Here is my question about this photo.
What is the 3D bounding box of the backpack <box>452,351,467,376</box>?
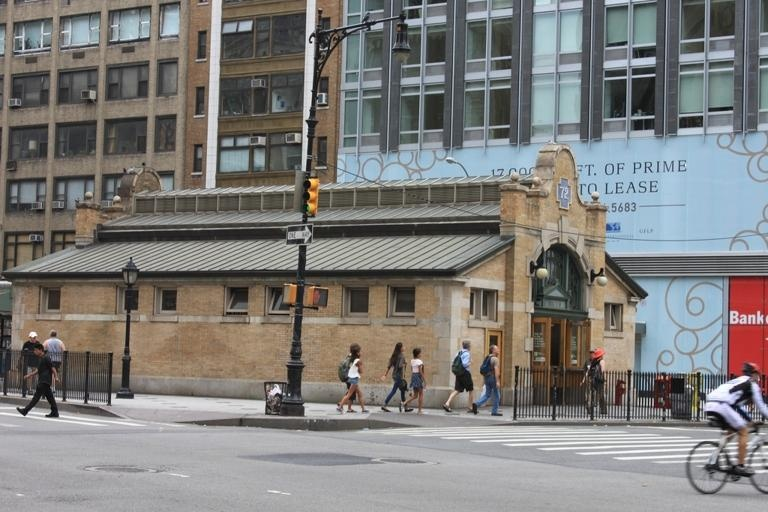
[{"bbox_3d":[3.130,4.690,68.421,0.451,1.005,0.612,3,-6,-36],"label":"backpack"}]

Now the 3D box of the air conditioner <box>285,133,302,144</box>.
[{"bbox_3d":[-5.270,-6.726,95.895,1.033,0.549,0.658,-6,-12,41],"label":"air conditioner"}]

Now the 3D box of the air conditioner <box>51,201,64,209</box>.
[{"bbox_3d":[-20.312,-2.901,102.060,0.554,0.328,0.528,-1,-4,6],"label":"air conditioner"}]

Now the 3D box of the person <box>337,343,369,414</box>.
[{"bbox_3d":[-1.156,5.302,68.540,1.600,2.946,1.174,4,-1,22],"label":"person"}]

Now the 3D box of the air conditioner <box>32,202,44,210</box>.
[{"bbox_3d":[-21.644,-2.852,102.467,0.858,0.489,0.470,1,2,32],"label":"air conditioner"}]

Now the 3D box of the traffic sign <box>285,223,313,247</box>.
[{"bbox_3d":[-3.407,-0.663,66.975,1.289,0.802,0.061,-1,-9,35],"label":"traffic sign"}]

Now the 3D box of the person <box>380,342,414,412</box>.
[{"bbox_3d":[0.631,5.318,69.216,1.563,2.840,0.937,1,-1,-8],"label":"person"}]

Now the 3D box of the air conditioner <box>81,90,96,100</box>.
[{"bbox_3d":[-18.256,-9.676,101.235,0.996,0.618,0.578,2,1,42],"label":"air conditioner"}]

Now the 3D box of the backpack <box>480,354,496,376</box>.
[{"bbox_3d":[4.411,4.784,68.625,0.607,0.847,0.440,-3,-5,19],"label":"backpack"}]

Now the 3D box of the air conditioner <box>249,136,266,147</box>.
[{"bbox_3d":[-7.350,-6.566,96.912,0.914,0.573,0.669,1,-5,-22],"label":"air conditioner"}]

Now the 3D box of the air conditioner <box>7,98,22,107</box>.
[{"bbox_3d":[-23.459,-9.423,104.018,0.836,0.542,0.560,-3,-7,37],"label":"air conditioner"}]

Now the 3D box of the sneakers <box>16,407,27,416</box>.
[{"bbox_3d":[-14.361,6.378,64.849,0.173,0.410,0.141,-46,-17,-2],"label":"sneakers"}]

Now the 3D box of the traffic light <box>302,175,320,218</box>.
[{"bbox_3d":[-2.899,-2.223,65.328,0.583,1.521,0.589,-1,-5,5],"label":"traffic light"}]
